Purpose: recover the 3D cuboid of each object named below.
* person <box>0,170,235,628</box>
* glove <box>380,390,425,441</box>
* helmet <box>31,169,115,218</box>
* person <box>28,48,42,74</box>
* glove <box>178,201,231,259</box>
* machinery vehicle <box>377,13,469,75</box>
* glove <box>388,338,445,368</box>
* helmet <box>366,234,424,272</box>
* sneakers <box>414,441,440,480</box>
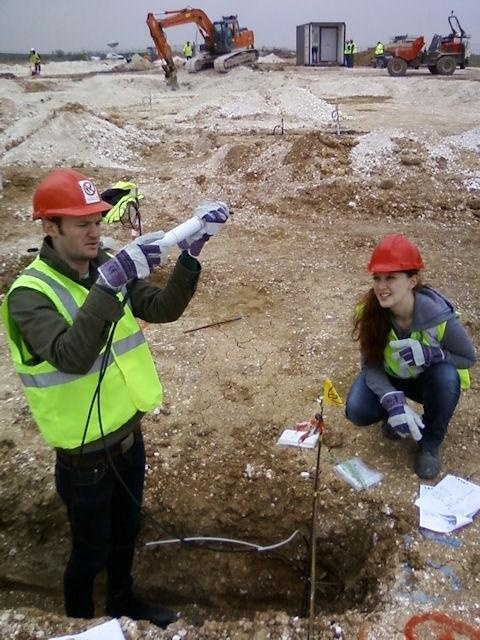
[{"bbox_3d":[-0.584,0.602,2.658,0.597,2.549,0.755,13,25,37],"label":"person"},{"bbox_3d":[0.895,0.532,3.072,0.215,0.101,0.322,8,13,-1],"label":"glove"},{"bbox_3d":[-0.723,-0.523,2.342,0.295,0.143,0.239,8,25,24],"label":"helmet"},{"bbox_3d":[-10.780,-13.394,28.851,0.484,0.969,1.594,-10,20,-20],"label":"person"},{"bbox_3d":[-0.137,-0.407,2.542,0.119,0.301,0.176,39,7,-42],"label":"glove"},{"bbox_3d":[6.932,-9.789,20.541,2.904,1.408,2.038,2,19,13],"label":"machinery vehicle"},{"bbox_3d":[0.973,0.187,3.042,0.289,0.171,0.061,4,21,18],"label":"glove"},{"bbox_3d":[0.846,-0.363,2.930,0.205,0.138,0.264,8,13,40],"label":"helmet"},{"bbox_3d":[1.068,0.811,3.137,0.101,0.146,0.252,0,6,8],"label":"sneakers"}]
